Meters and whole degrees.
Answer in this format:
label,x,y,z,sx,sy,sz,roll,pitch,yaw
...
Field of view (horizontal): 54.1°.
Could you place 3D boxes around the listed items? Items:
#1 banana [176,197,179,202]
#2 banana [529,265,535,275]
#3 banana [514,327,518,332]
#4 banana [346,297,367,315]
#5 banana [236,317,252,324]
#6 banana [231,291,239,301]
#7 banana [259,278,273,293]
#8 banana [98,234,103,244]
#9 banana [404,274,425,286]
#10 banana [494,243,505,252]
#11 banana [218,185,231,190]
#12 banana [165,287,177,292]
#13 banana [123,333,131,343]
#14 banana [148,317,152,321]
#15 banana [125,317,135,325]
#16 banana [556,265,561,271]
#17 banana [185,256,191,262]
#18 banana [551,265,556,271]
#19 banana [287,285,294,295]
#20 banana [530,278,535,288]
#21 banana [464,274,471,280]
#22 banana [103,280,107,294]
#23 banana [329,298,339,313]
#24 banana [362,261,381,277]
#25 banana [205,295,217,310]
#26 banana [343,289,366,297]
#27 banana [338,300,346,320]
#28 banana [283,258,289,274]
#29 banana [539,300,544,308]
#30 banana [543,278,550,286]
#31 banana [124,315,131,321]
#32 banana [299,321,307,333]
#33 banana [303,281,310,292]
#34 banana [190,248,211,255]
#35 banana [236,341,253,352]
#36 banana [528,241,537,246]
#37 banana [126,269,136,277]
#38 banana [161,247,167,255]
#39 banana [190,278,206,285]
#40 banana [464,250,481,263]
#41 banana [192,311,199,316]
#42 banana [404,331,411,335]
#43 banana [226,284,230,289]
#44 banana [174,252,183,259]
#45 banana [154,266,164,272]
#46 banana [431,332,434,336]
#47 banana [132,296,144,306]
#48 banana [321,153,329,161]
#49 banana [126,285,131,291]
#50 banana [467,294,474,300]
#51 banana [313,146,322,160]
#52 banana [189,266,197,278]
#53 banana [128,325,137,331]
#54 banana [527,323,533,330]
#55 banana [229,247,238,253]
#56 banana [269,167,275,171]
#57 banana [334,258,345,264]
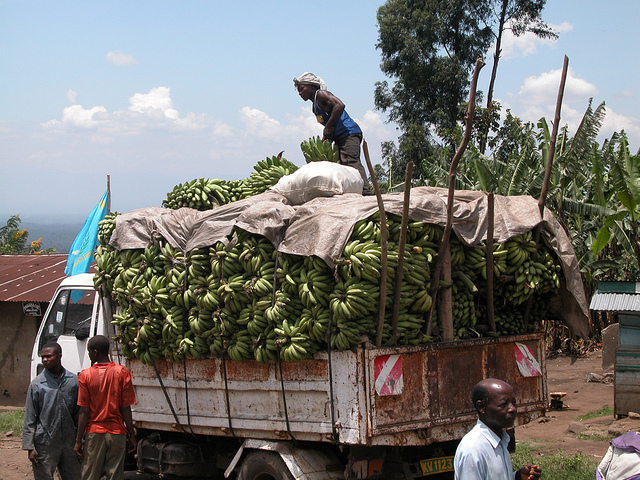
label,x,y,z,sx,sy,sz,roll,pitch,yaw
banana,-1.945,-0.555,8.599,0.015,0.061,0.076,-8,7,-36
banana,2.422,0.345,7.157,0.044,0.099,0.032,-13,-21,15
banana,2.368,1.076,7.558,0.011,0.023,0.022,24,13,-29
banana,0.386,0.668,6.365,0.335,0.096,0.078,23,-10,-12
banana,-0.863,0.916,7.135,0.061,0.084,0.240,-9,8,-43
banana,-0.962,0.639,7.131,0.047,0.141,0.037,-27,10,19
banana,-0.578,0.487,6.966,0.061,0.229,0.076,-21,-28,-51
banana,-3.048,-0.017,8.705,0.076,0.111,0.033,-11,13,35
banana,0.987,0.422,6.612,0.150,0.052,0.037,30,27,-10
banana,2.033,0.083,7.076,0.127,0.087,0.048,-7,7,-29
banana,-1.302,-0.734,8.598,0.170,0.062,0.051,26,-13,39
banana,-1.817,0.610,7.677,0.174,0.063,0.019,1,7,36
banana,-2.531,1.284,8.213,0.049,0.090,0.021,1,24,31
banana,-2.133,0.994,7.870,0.035,0.038,0.010,0,4,15
banana,-2.459,1.052,8.139,0.165,0.104,0.032,-1,7,25
banana,2.787,0.327,7.341,0.037,0.069,0.093,3,9,43
banana,-1.586,0.229,7.576,0.101,0.069,0.037,1,7,37
banana,2.718,0.324,7.298,0.044,0.035,0.059,-11,-5,-3
banana,-0.315,0.542,6.814,0.022,0.091,0.067,-1,15,-21
banana,2.428,0.501,7.145,0.046,0.070,0.016,-10,-8,-7
banana,1.678,0.414,7.094,0.049,0.059,0.086,-1,7,20
banana,-2.923,0.649,8.522,0.025,0.117,0.083,-2,-7,-27
banana,0.146,0.658,6.427,0.037,0.122,0.104,4,-45,-15
banana,0.524,0.296,6.308,0.183,0.180,0.079,-4,6,-7
banana,-1.264,0.716,7.309,0.063,0.165,0.032,-37,3,-40
banana,0.339,0.538,6.341,0.228,0.086,0.065,-2,6,18
banana,0.218,0.741,6.354,0.031,0.125,0.098,0,-36,-18
banana,-0.368,0.286,6.853,0.065,0.160,0.052,-2,6,9
banana,2.760,0.793,7.796,0.044,0.114,0.096,1,7,31
banana,2.641,0.486,7.317,0.086,0.076,0.035,-5,6,-11
banana,-2.501,1.012,8.153,0.081,0.023,0.062,-40,-31,26
banana,-0.175,0.929,6.657,0.047,0.201,0.034,15,29,-20
banana,-0.144,0.502,6.634,0.053,0.091,0.080,-6,7,-20
banana,-1.429,0.144,7.500,0.109,0.039,0.115,-19,-19,23
banana,-0.845,1.208,7.110,0.142,0.039,0.034,40,29,11
banana,2.443,0.032,7.189,0.054,0.040,0.013,20,22,22
banana,-2.452,0.428,8.159,0.041,0.100,0.084,-47,-5,6
banana,-1.939,0.140,7.821,0.020,0.081,0.057,-11,-10,-38
banana,-1.468,0.499,7.502,0.228,0.071,0.032,0,7,33
banana,1.717,0.178,7.029,0.055,0.149,0.026,-40,-15,-34
banana,-1.481,0.891,7.522,0.046,0.039,0.013,-17,8,10
banana,0.937,0.992,6.698,0.064,0.041,0.010,-7,7,-31
banana,-1.046,0.531,7.168,0.038,0.043,0.013,-4,-1,-35
banana,-1.731,0.184,7.686,0.129,0.061,0.040,1,7,36
banana,-2.023,0.363,7.889,0.158,0.048,0.060,23,18,28
banana,1.251,1.046,6.964,0.036,0.032,0.008,-6,7,-23
banana,-2.313,0.777,7.976,0.163,0.119,0.056,1,7,33
banana,0.066,-1.160,8.761,0.052,0.083,0.111,1,8,34
banana,-2.462,0.617,8.085,0.023,0.067,0.092,-7,7,-33
banana,1.730,0.649,7.168,0.034,0.073,0.113,2,9,41
banana,-0.040,-1.219,8.773,0.056,0.222,0.057,13,-52,-46
banana,-1.528,0.395,7.510,0.063,0.195,0.048,-25,3,-20
banana,-2.422,1.136,8.107,0.080,0.057,0.023,5,-14,44
banana,2.612,1.074,7.774,0.059,0.038,0.060,15,3,24
banana,-0.990,0.118,7.206,0.108,0.052,0.017,0,7,27
banana,-0.649,-0.972,8.526,0.049,0.056,0.015,-1,-4,33
banana,0.201,0.217,6.393,0.060,0.023,0.062,2,-35,-29
